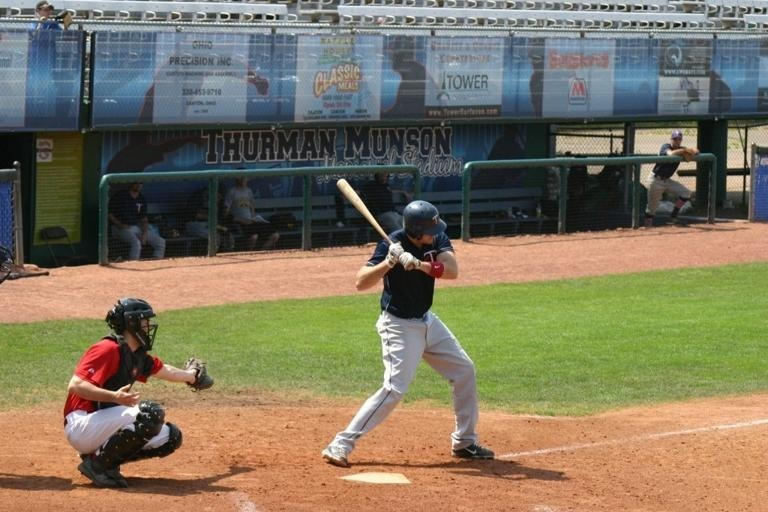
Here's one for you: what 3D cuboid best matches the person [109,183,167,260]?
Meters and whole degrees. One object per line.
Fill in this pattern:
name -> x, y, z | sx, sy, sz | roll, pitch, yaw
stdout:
person -> -4.189, -0.591, 23.255 | 0.929, 1.288, 0.328 | -3, 11, -14

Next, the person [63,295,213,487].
person -> -2.957, 1.580, 15.856 | 1.465, 2.151, 0.654 | -3, 11, -14

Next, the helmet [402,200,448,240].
helmet -> 0.507, -0.435, 16.222 | 0.528, 0.299, 0.379 | 1, 32, 4

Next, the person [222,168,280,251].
person -> -2.344, -0.754, 24.265 | 0.955, 1.262, 0.358 | -2, 11, -12

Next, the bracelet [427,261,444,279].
bracelet -> 0.634, 0.164, 16.085 | 0.133, 0.162, 0.174 | 17, 28, 33

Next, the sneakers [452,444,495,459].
sneakers -> 1.099, 2.370, 16.481 | 0.571, 0.216, 0.184 | -1, 8, -5

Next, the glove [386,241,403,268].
glove -> 0.119, -0.011, 15.966 | 0.206, 0.261, 0.120 | 16, -3, 36

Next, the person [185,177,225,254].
person -> -3.132, -0.688, 23.705 | 0.600, 1.268, 0.282 | -7, 13, -32

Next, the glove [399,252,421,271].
glove -> 0.314, 0.064, 15.939 | 0.211, 0.089, 0.212 | 38, 16, 17
